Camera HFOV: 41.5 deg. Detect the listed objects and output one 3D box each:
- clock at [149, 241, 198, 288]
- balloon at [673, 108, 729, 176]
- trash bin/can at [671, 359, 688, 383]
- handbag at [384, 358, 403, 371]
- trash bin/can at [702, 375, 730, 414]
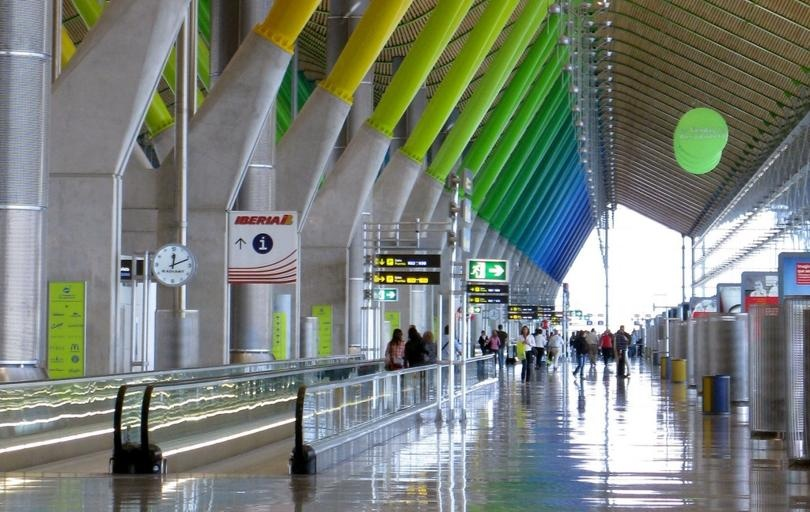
[{"bbox_3d":[-5.187,0.153,24.430,1.117,1.188,0.224,0,4,8],"label":"clock"},{"bbox_3d":[7.920,-3.295,28.819,1.273,1.810,1.549,-2,-9,12],"label":"balloon"},{"bbox_3d":[8.944,3.739,35.225,0.636,0.967,0.628,2,-10,-3],"label":"trash bin/can"},{"bbox_3d":[-0.283,2.786,27.840,0.429,0.250,0.612,0,-13,2],"label":"handbag"},{"bbox_3d":[7.017,3.102,24.199,0.575,0.891,0.753,-2,-10,15],"label":"trash bin/can"}]
